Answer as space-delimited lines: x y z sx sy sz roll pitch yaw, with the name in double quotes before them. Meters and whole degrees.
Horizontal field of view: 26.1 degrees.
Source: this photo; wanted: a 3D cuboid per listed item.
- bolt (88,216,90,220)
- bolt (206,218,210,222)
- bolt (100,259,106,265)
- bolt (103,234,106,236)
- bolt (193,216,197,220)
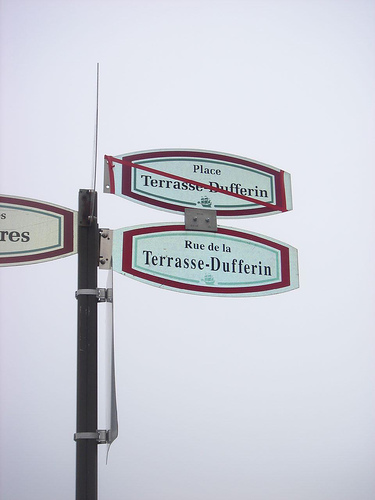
"bolt" -0.350 -0.114 2.841 0.004 0.013 0.017 3 -6 -20
"bolt" 0.071 -0.116 3.054 0.011 0.009 0.012 -1 22 0
"bolt" -0.308 0.040 2.891 0.016 0.016 0.004 1 -6 -7
"bolt" -0.304 -0.057 2.917 0.007 0.007 0.002 0 2 -22
"bolt" 0.025 -0.121 3.046 0.011 0.015 0.006 1 1 -3
